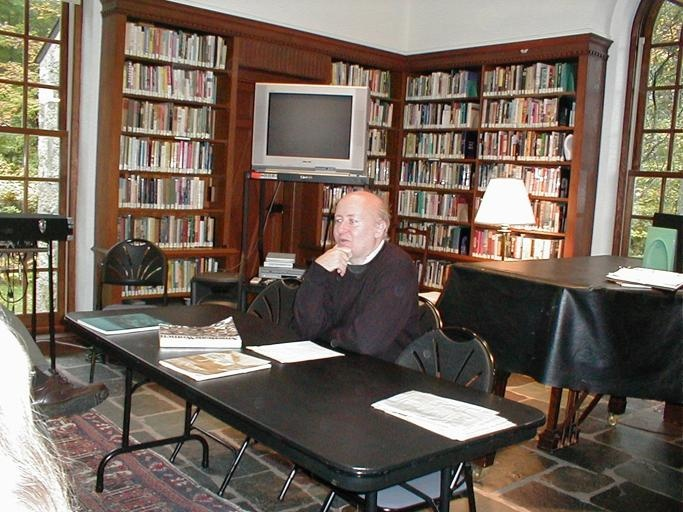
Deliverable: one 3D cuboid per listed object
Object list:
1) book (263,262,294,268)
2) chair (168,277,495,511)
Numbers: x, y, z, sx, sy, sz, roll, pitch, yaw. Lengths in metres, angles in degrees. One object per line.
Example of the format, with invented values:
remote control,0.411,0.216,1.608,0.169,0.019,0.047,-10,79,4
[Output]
book,-0.507,0.075,4.137,0.226,0.048,0.030,3,10,6
chair,-0.046,0.528,1.959,0.493,0.698,1.130,9,2,-43
